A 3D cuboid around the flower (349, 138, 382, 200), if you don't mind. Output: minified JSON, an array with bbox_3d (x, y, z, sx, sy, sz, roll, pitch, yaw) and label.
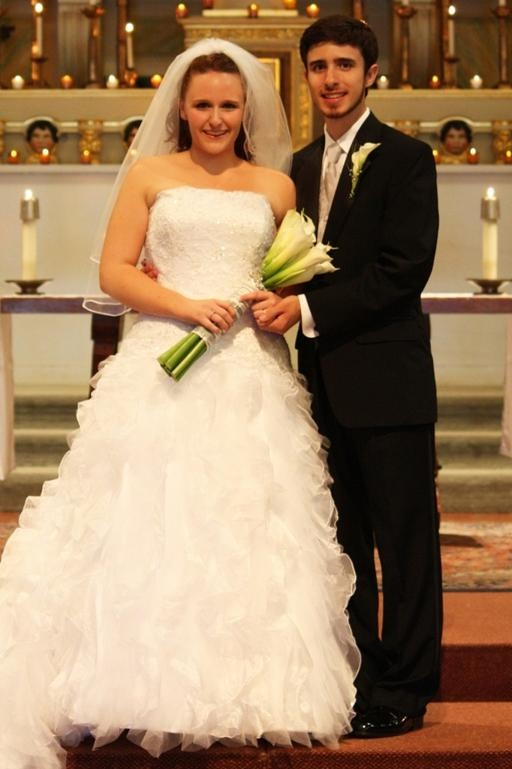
[{"bbox_3d":[0.268,-0.520,1.896,0.070,0.144,0.086,10,46,-10],"label":"flower"}]

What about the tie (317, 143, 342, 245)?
[{"bbox_3d":[0.191,-0.506,2.045,0.053,0.282,0.038,8,-8,17],"label":"tie"}]

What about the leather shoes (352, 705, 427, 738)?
[{"bbox_3d":[0.297,0.742,1.740,0.170,0.050,0.066,10,-17,-33],"label":"leather shoes"}]
